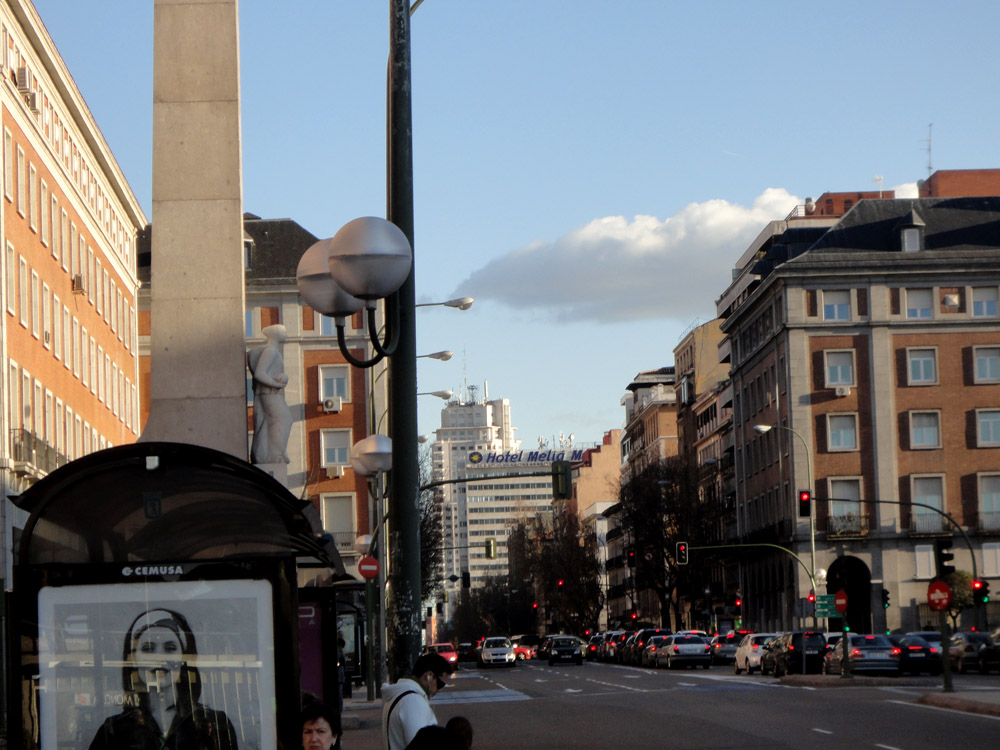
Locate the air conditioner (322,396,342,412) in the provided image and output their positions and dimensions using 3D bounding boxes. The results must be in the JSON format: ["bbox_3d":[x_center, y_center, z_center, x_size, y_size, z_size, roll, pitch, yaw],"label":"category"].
[{"bbox_3d":[-8.052,1.501,95.494,1.059,0.989,0.570,-2,-7,5],"label":"air conditioner"}]

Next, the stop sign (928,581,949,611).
[{"bbox_3d":[11.363,5.569,51.289,0.501,0.922,1.688,-5,-13,9],"label":"stop sign"}]
